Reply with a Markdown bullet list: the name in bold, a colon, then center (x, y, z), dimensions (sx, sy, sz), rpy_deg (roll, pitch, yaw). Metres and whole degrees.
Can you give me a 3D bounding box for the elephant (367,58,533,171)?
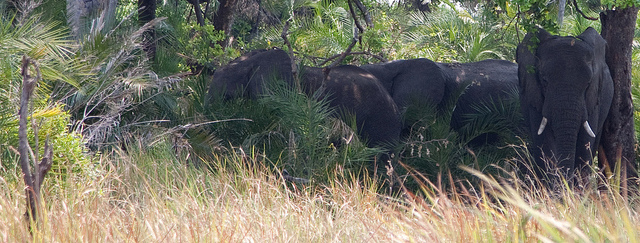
- **elephant**: center (3.307, -0.207, 17.894), dimensions (5.847, 2.789, 2.399), rpy_deg (1, 5, -7)
